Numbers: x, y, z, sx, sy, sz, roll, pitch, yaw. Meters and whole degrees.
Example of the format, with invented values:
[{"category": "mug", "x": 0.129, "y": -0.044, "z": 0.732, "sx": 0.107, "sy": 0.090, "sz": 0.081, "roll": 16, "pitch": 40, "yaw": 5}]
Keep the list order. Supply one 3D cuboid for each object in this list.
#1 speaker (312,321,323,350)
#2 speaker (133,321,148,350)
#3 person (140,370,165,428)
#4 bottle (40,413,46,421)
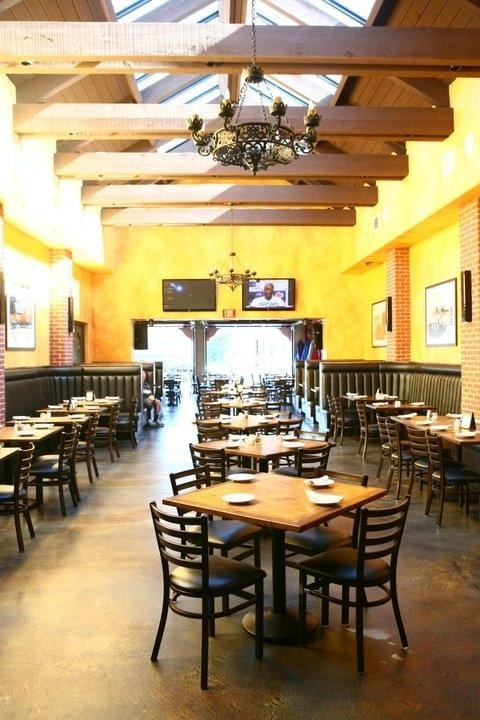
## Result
[{"category": "speaker", "x": 1.959, "y": -0.604, "z": 13.813, "sx": 0.211, "sy": 0.712, "sz": 0.294, "roll": -1, "pitch": 0, "yaw": 10}, {"category": "speaker", "x": -2.448, "y": -0.628, "z": 13.382, "sx": 0.340, "sy": 0.598, "sz": 0.271, "roll": -1, "pitch": 0, "yaw": 0}, {"category": "person", "x": -2.041, "y": 1.154, "z": 12.663, "sx": 0.346, "sy": 0.624, "sz": 1.157, "roll": 1, "pitch": -43, "yaw": 0}, {"category": "bottle", "x": -2.377, "y": 0.683, "z": 6.584, "sx": 0.081, "sy": 0.089, "sz": 0.111, "roll": -1, "pitch": -8, "yaw": -3}]
